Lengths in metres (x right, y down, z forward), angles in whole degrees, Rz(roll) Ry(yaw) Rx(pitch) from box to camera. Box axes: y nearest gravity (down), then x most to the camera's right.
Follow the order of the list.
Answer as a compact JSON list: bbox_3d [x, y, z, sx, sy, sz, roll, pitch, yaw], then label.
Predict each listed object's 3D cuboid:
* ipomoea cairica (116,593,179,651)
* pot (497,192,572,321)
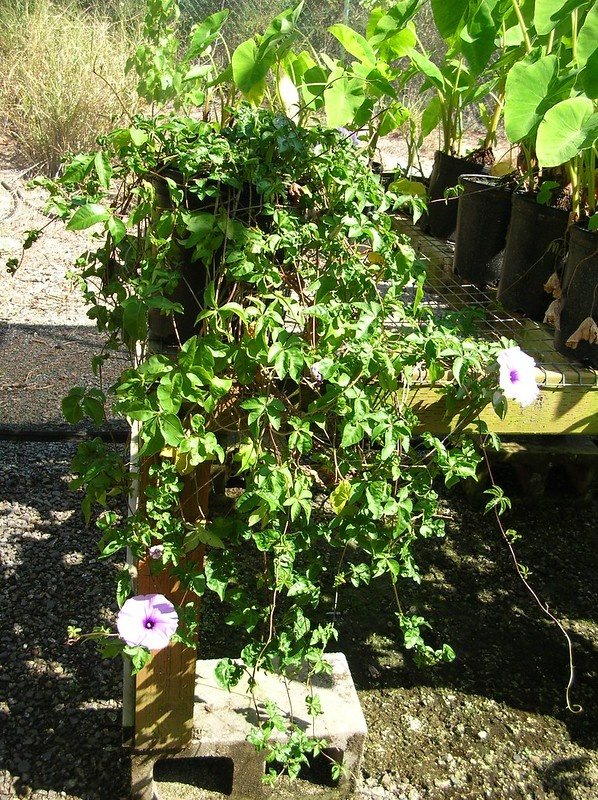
[{"bbox_3d":[-0.197,0.286,0.868,0.079,0.070,0.027,-25,56,13],"label":"ipomoea cairica"},{"bbox_3d":[0.562,-0.367,1.769,0.228,0.292,0.252,10,3,42],"label":"pot"}]
